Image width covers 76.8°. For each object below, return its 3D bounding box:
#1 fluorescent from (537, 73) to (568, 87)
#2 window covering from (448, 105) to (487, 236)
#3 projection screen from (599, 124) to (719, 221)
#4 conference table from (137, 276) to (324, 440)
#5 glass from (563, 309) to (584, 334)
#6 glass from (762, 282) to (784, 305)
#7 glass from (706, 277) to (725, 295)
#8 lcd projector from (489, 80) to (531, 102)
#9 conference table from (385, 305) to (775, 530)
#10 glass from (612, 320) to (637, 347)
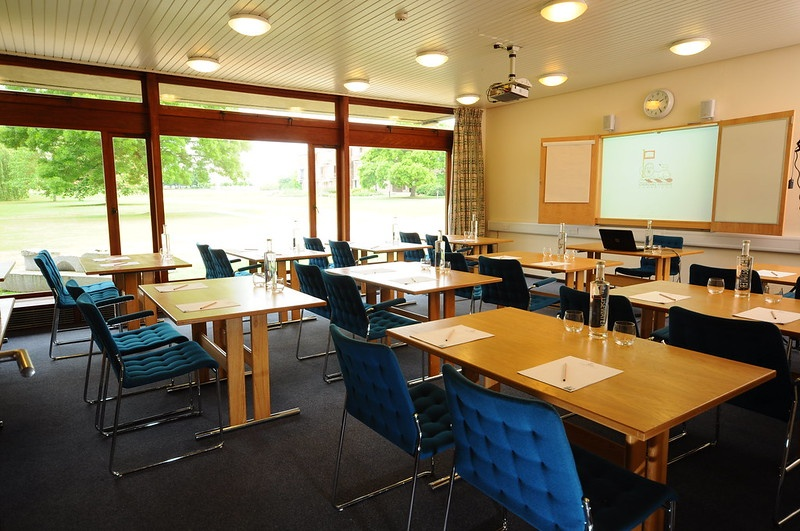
[{"bbox_3d":[2.250,-2.783,7.491,0.386,0.136,0.193,-1,9,9],"label":"fluorescent"},{"bbox_3d":[1.314,-1.527,9.955,0.246,2.242,0.663,-9,31,15],"label":"window covering"},{"bbox_3d":[3.972,-1.429,7.642,0.149,1.377,1.862,-5,7,-41],"label":"projection screen"},{"bbox_3d":[-1.693,0.759,4.892,1.326,0.990,2.294,-5,7,-33],"label":"conference table"},{"bbox_3d":[1.173,0.381,3.427,0.158,0.127,0.144,0,3,-14],"label":"glass"},{"bbox_3d":[3.535,0.263,4.807,0.197,0.121,0.165,-6,9,-33],"label":"glass"},{"bbox_3d":[2.696,0.179,4.376,0.152,0.122,0.140,0,2,11],"label":"glass"},{"bbox_3d":[1.257,-2.110,6.074,0.440,0.141,0.299,4,8,42],"label":"lcd projector"},{"bbox_3d":[1.180,0.393,2.996,1.418,0.826,1.775,-6,10,-33],"label":"conference table"},{"bbox_3d":[1.452,0.443,3.285,0.165,0.132,0.152,-1,3,-22],"label":"glass"}]
